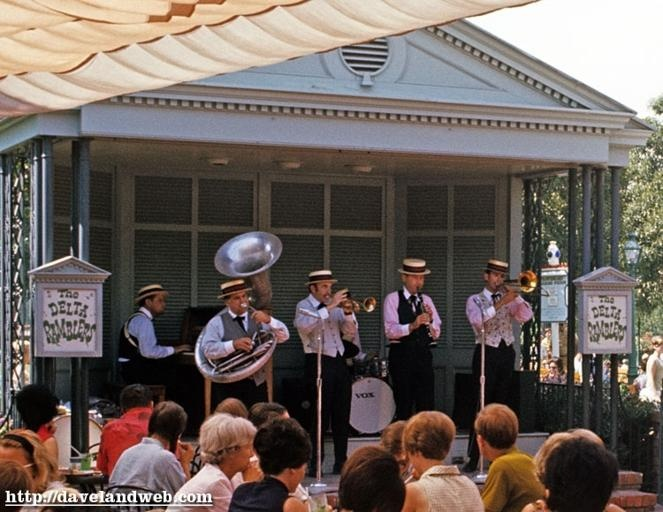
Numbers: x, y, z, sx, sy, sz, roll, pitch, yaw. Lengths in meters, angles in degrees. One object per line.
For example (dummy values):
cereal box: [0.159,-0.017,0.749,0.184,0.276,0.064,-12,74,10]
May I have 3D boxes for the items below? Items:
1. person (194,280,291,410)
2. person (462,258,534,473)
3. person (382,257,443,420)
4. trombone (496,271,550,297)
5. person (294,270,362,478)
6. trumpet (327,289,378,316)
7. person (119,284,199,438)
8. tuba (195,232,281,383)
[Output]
person: [-0.936,0.934,16.863,0.961,1.256,0.867,4,2,-37]
person: [1.773,1.204,17.562,1.021,2.169,0.978,-1,-3,-4]
person: [0.828,0.874,17.282,0.604,1.546,0.668,0,-2,-9]
trombone: [2.042,0.314,17.642,0.260,0.284,0.752,11,-1,3]
person: [0.098,1.170,16.899,0.746,1.882,0.752,0,-1,-18]
trumpet: [0.121,0.489,16.752,0.286,0.223,0.630,-32,16,-30]
person: [-1.831,1.086,17.763,0.892,1.442,0.672,0,-3,-13]
tuba: [-0.865,0.531,16.750,0.793,1.541,0.863,1,1,-34]
